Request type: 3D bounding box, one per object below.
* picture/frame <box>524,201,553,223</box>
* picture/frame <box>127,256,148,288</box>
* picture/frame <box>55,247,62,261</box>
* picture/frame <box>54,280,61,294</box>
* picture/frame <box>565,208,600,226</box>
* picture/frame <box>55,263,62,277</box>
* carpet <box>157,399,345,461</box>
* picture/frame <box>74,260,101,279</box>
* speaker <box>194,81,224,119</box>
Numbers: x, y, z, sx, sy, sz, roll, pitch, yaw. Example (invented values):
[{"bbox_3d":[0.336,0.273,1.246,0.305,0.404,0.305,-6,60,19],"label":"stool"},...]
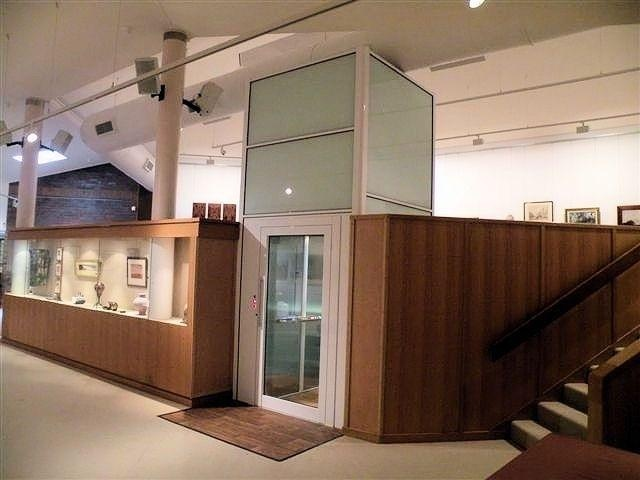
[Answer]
[{"bbox_3d":[4.179,-0.545,9.441,0.042,0.441,0.528,27,-21,-39],"label":"picture/frame"},{"bbox_3d":[-2.768,0.468,7.510,0.466,0.471,0.035,0,-1,31],"label":"picture/frame"},{"bbox_3d":[-4.736,0.245,9.003,0.234,0.298,0.031,-5,-7,36],"label":"picture/frame"},{"bbox_3d":[-4.712,0.830,8.912,0.233,0.315,0.032,-5,-7,38],"label":"picture/frame"},{"bbox_3d":[4.862,-0.473,9.196,0.471,0.268,0.428,1,3,3],"label":"picture/frame"},{"bbox_3d":[-4.719,0.536,8.953,0.245,0.313,0.032,-1,-2,39],"label":"picture/frame"},{"bbox_3d":[-0.799,2.234,5.989,1.988,0.040,1.071,3,4,33],"label":"carpet"},{"bbox_3d":[-3.897,0.476,8.354,0.498,0.339,0.117,3,-2,35],"label":"picture/frame"},{"bbox_3d":[-1.793,-2.275,7.995,0.408,0.532,0.125,21,25,-2],"label":"speaker"}]
